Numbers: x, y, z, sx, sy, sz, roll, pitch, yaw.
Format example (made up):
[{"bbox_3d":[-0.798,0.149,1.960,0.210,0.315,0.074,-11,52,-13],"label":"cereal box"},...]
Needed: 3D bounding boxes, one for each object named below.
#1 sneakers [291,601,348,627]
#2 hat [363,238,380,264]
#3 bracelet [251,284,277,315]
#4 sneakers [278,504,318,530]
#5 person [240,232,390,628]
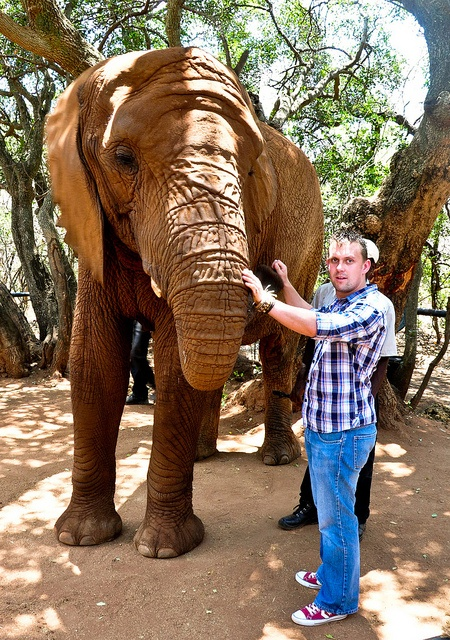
[{"bbox_3d":[0.378,1.181,2.190,0.222,0.075,0.075,5,-5,-9],"label":"sneakers"},{"bbox_3d":[0.688,-0.325,2.533,0.050,0.124,0.136,-7,17,-2],"label":"hat"},{"bbox_3d":[0.125,-0.097,2.054,0.063,0.125,0.121,-15,-15,42],"label":"bracelet"},{"bbox_3d":[0.422,1.093,3.055,0.278,0.118,0.096,4,1,-36],"label":"sneakers"},{"bbox_3d":[0.395,0.428,2.184,0.385,1.599,0.539,5,4,24],"label":"person"}]
